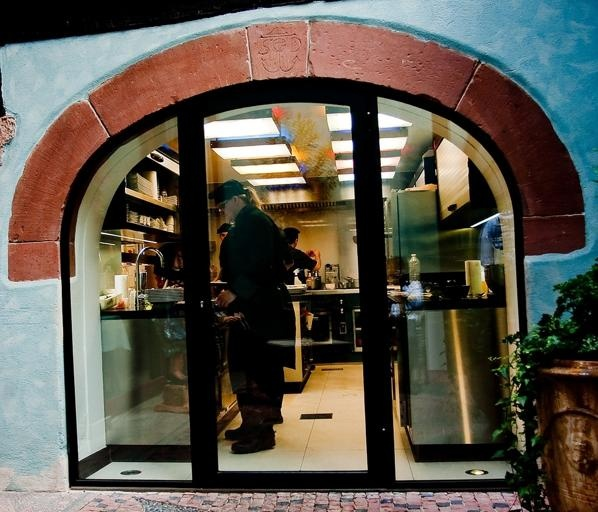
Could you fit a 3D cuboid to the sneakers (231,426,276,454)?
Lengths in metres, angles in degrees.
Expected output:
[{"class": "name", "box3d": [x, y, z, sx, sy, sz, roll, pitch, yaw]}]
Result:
[{"class": "sneakers", "box3d": [-0.297, 1.210, 3.577, 0.360, 0.196, 0.114, 4, -21, -9]}]

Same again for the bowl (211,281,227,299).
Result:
[{"class": "bowl", "box3d": [-0.533, 0.208, 3.583, 0.027, 0.113, 0.140, 1, 11, 29]}]

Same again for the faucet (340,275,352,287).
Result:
[{"class": "faucet", "box3d": [0.295, 0.169, 3.457, 0.085, 0.068, 0.054, 0, -1, 7]}]

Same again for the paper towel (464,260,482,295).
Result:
[{"class": "paper towel", "box3d": [1.232, 0.155, 3.892, 0.131, 0.244, 0.116, -4, 3, -11]}]

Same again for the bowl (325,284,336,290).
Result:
[{"class": "bowl", "box3d": [0.200, 0.196, 3.556, 0.047, 0.025, 0.044, 1, 0, 0]}]

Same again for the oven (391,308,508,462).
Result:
[{"class": "oven", "box3d": [1.008, 0.805, 4.375, 1.001, 1.356, 1.629, -1, -3, 8]}]

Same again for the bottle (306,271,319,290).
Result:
[{"class": "bottle", "box3d": [0.090, 0.164, 3.692, 0.127, 0.125, 0.105, 1, -3, 4]}]

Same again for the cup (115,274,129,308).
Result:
[{"class": "cup", "box3d": [-1.302, 0.250, 3.993, 0.102, 0.223, 0.141, -7, 11, -15]}]

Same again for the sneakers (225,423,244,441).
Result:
[{"class": "sneakers", "box3d": [-0.422, 1.157, 3.556, 0.148, 0.073, 0.046, -12, 13, -44]}]

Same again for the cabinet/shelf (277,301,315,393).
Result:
[{"class": "cabinet/shelf", "box3d": [-0.017, 0.619, 3.629, 0.282, 0.628, 0.708, -1, 1, 4]}]

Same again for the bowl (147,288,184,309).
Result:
[{"class": "bowl", "box3d": [-0.933, 0.275, 3.754, 0.379, 0.159, 0.051, 4, 14, 39]}]

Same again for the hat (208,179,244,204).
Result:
[{"class": "hat", "box3d": [-0.483, -0.434, 3.636, 0.057, 0.153, 0.276, 4, 12, 39]}]
